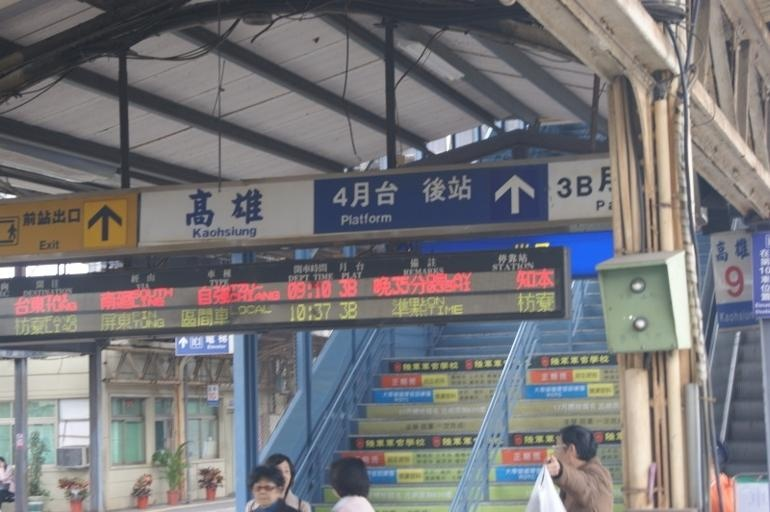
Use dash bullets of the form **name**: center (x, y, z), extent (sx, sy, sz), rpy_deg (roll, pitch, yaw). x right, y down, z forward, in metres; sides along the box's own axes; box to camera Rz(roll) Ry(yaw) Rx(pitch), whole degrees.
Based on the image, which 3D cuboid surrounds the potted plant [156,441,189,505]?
- **potted plant**: center (-4.929, 4.992, 48.005), extent (0.702, 1.442, 1.103), rpy_deg (-4, -10, 7)

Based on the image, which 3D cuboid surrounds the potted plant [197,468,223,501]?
- **potted plant**: center (-4.203, 5.392, 49.218), extent (0.751, 0.697, 0.334), rpy_deg (-1, -2, 7)

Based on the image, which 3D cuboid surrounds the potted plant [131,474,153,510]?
- **potted plant**: center (-5.575, 5.320, 47.060), extent (0.638, 0.802, 0.678), rpy_deg (0, -9, 0)
